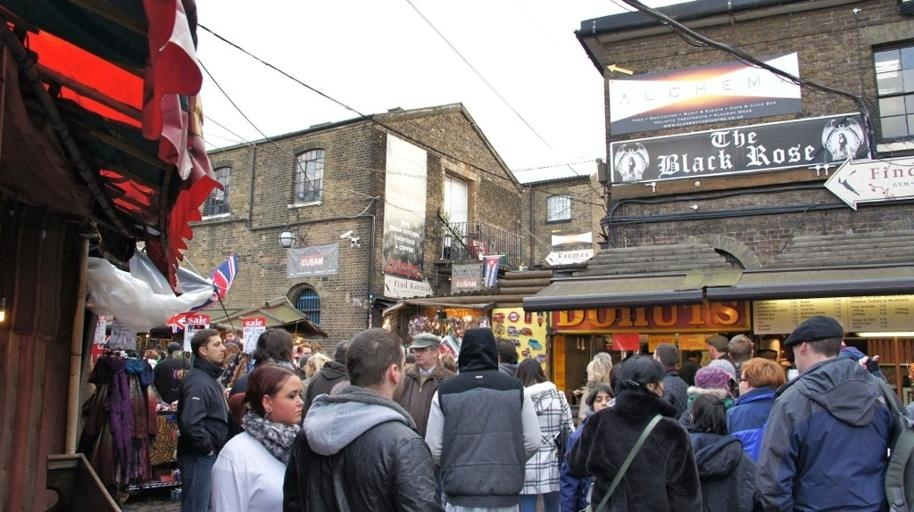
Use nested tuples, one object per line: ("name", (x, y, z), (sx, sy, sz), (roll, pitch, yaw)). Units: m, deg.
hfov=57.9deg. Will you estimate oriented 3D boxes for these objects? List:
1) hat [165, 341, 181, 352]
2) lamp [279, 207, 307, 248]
("hat", (-5.287, 1.716, 15.538), (0.180, 0.113, 0.230), (7, 10, 23))
("lamp", (-5.109, -0.983, 25.608), (0.631, 1.461, 1.242), (0, -13, -10))
